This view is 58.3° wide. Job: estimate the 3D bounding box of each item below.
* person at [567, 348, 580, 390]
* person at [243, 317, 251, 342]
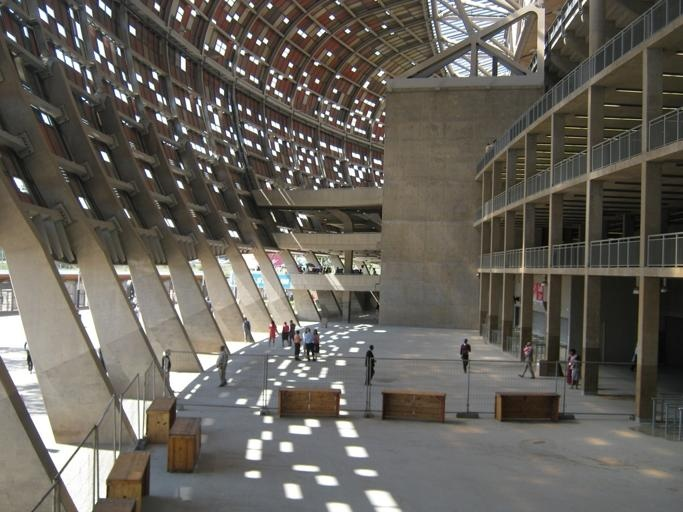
[{"bbox_3d":[9.897,4.874,26.127,0.496,1.471,2.863,1,2,20],"label":"person"},{"bbox_3d":[-6.302,5.058,41.531,0.577,1.578,1.785,-1,2,-9],"label":"person"}]
